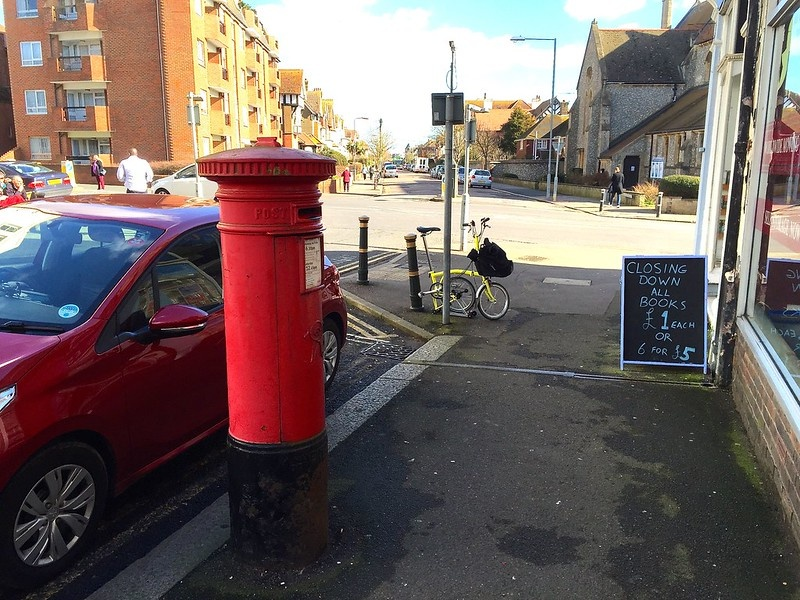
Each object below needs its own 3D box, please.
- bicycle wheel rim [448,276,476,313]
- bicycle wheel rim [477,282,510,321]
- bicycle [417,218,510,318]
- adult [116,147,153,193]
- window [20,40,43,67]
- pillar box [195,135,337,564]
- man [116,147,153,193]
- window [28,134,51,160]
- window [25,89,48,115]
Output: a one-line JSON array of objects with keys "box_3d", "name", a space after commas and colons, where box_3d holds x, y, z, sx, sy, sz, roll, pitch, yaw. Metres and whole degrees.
[{"box_3d": [0.873, -0.057, 9.002, 0.510, 0.563, 0.066, -11, -10, 35], "name": "bicycle wheel rim"}, {"box_3d": [1.340, -0.005, 8.915, 0.461, 0.522, 0.339, 2, 13, 7], "name": "bicycle wheel rim"}, {"box_3d": [1.087, -0.537, 9.322, 1.222, 1.357, 2.151, 3, 14, 11], "name": "bicycle"}, {"box_3d": [-6.872, -3.356, 15.836, 0.768, 1.117, 0.978, -6, 14, -25], "name": "adult"}, {"box_3d": [-23.954, -16.123, 39.788, 1.501, 1.798, 0.119, 5, 22, 4], "name": "window"}, {"box_3d": [-0.801, 0.312, 3.843, 0.789, 2.575, 0.804, 2, 12, 9], "name": "pillar box"}, {"box_3d": [-6.869, -3.354, 15.829, 0.768, 1.117, 0.961, -6, 14, -25], "name": "man"}, {"box_3d": [-23.941, -10.276, 40.677, 1.445, 1.628, 0.129, 6, 20, 7], "name": "window"}, {"box_3d": [-23.817, -13.090, 40.103, 1.405, 1.832, 0.119, 4, 13, 4], "name": "window"}]
